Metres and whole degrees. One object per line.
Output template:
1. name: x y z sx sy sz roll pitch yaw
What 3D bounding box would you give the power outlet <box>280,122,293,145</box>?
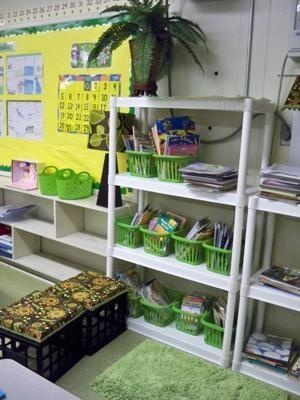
1. power outlet: 0.631 -0.306 1.481 0.056 0.081 0.024 16 23 41

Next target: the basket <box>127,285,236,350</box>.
1. basket: 0.182 0.590 1.732 0.431 0.116 0.232 10 11 39

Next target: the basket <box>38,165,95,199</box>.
1. basket: -0.601 -0.177 2.212 0.272 0.170 0.274 20 19 41

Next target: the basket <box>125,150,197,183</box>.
1. basket: 0.027 -0.201 1.596 0.183 0.103 0.268 15 19 42

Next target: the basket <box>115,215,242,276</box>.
1. basket: 0.191 0.179 1.582 0.393 0.129 0.255 11 12 43
